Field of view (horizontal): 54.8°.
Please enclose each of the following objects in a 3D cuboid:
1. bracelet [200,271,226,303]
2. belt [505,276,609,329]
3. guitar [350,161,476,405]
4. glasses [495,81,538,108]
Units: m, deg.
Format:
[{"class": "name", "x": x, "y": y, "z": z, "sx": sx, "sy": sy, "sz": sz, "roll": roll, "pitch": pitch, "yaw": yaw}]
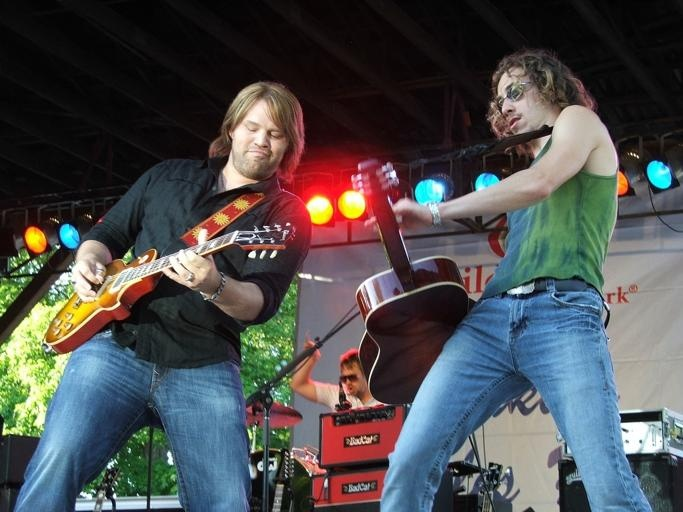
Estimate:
[{"class": "bracelet", "x": -0.475, "y": 0.132, "z": 2.488, "sx": 0.109, "sy": 0.114, "sz": 0.031, "roll": -26, "pitch": -42, "yaw": 32}, {"class": "belt", "x": 0.874, "y": 0.160, "z": 2.642, "sx": 0.305, "sy": 0.241, "sz": 0.076, "roll": 13, "pitch": -3, "yaw": 21}, {"class": "guitar", "x": 0.280, "y": 0.096, "z": 2.875, "sx": 0.524, "sy": 0.196, "sz": 0.991, "roll": -19, "pitch": -69, "yaw": 25}, {"class": "glasses", "x": 0.737, "y": -0.717, "z": 2.859, "sx": 0.110, "sy": 0.036, "sz": 0.108, "roll": -34, "pitch": -3, "yaw": -39}]
